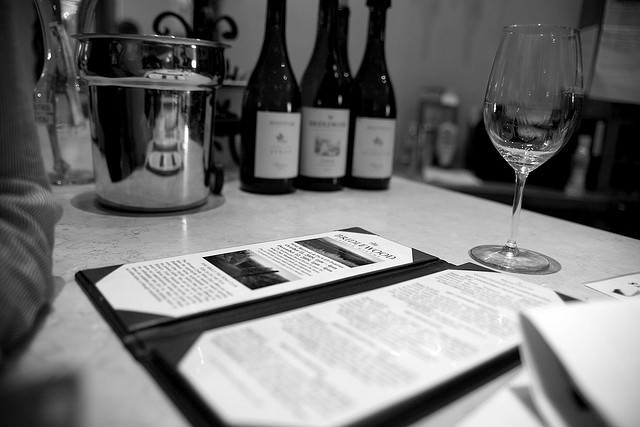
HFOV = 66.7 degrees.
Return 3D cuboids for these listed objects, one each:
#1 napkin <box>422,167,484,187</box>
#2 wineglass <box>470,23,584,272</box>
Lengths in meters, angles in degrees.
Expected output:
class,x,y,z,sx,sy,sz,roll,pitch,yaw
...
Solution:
class,x,y,z,sx,sy,sz,roll,pitch,yaw
napkin,0.549,-0.150,2.023,0.141,0.032,0.137,-1,18,-12
wineglass,0.259,-0.082,0.610,0.126,0.292,0.156,-1,20,-9
